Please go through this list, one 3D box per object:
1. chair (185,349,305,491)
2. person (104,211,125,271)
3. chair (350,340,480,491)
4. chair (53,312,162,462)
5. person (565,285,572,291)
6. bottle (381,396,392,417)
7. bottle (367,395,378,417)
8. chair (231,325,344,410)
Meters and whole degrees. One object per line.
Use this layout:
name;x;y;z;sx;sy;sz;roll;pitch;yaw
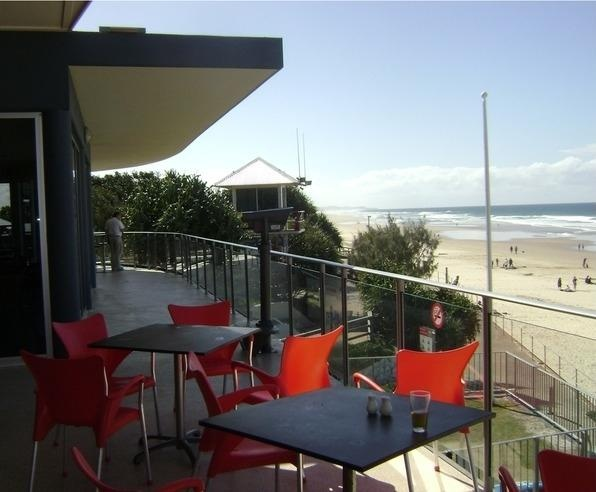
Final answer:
chair;-0.299;0.841;3.037;0.697;1.134;0.645;-1;-2;-5
person;-5.437;-0.105;15.241;0.465;1.752;0.652;-1;3;-20
chair;0.783;0.967;3.443;0.730;1.309;0.809;-5;-9;35
chair;-1.299;1.063;4.098;0.766;1.326;0.908;-3;-3;25
person;22.631;3.540;42.536;0.574;0.421;1.015;1;4;33
bottle;0.396;0.736;2.335;0.057;0.095;0.064;-1;-9;0
bottle;0.343;0.735;2.329;0.056;0.096;0.064;0;-8;1
chair;-0.004;0.761;3.248;0.447;0.758;0.458;-1;4;-38
